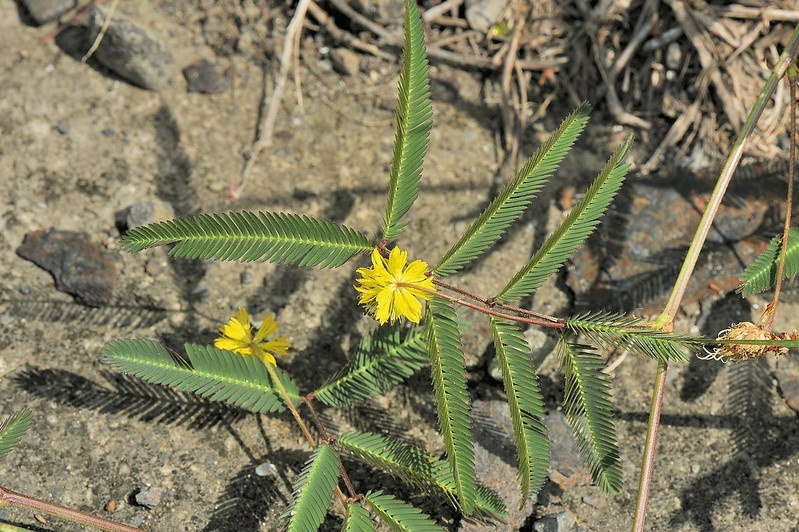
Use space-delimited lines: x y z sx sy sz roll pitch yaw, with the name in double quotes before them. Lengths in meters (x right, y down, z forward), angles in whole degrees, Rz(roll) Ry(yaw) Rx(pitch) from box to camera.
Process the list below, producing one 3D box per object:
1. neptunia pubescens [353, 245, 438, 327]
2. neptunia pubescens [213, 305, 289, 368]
"neptunia pubescens" -0.046 0.076 5.770 0.512 0.508 0.210 -9 104 -26
"neptunia pubescens" -0.965 0.488 6.150 0.494 0.197 0.422 -21 30 -37
